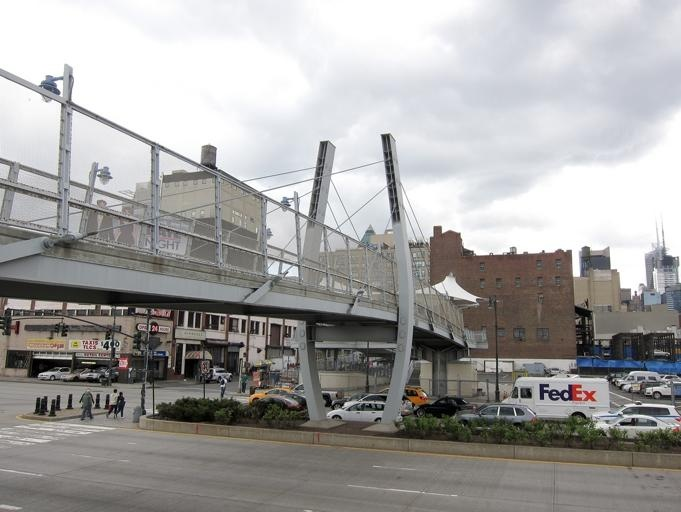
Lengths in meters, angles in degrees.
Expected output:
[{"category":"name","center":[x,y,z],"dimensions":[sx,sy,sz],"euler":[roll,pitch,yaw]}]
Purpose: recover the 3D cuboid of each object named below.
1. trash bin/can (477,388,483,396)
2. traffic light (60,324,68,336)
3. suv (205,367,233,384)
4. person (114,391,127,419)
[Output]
[{"category":"trash bin/can","center":[13.026,12.843,55.192],"dimensions":[0.565,0.504,0.557],"euler":[-2,-7,16]},{"category":"traffic light","center":[-23.373,6.203,50.164],"dimensions":[0.397,1.076,1.570],"euler":[9,-17,-26]},{"category":"suv","center":[-13.655,13.486,66.826],"dimensions":[2.658,1.983,6.779],"euler":[4,-15,-10]},{"category":"person","center":[-13.328,9.072,35.874],"dimensions":[0.537,1.454,2.413],"euler":[6,-16,-18]}]
